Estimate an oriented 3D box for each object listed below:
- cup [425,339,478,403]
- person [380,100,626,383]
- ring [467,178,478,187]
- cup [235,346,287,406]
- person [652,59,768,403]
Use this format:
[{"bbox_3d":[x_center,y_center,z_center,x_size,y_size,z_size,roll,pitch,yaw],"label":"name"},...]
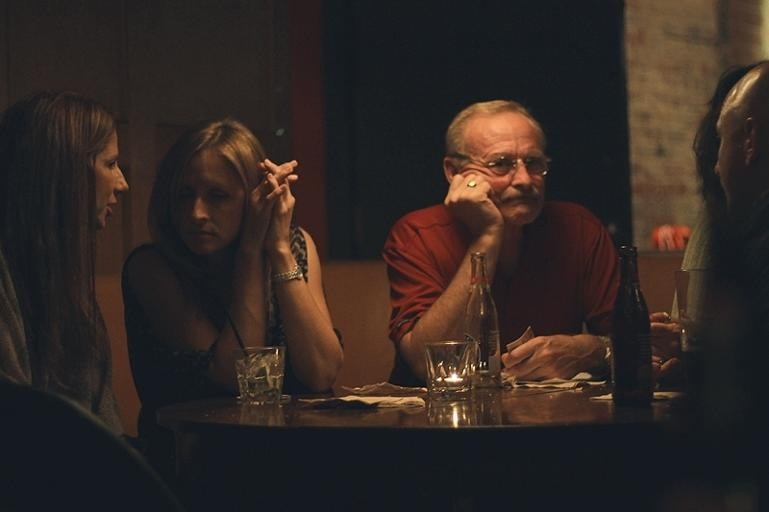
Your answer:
[{"bbox_3d":[0.199,0.330,2.886,0.160,0.171,0.168,0,-8,0],"label":"cup"},{"bbox_3d":[0.447,-0.066,3.690,0.906,1.024,0.319,-3,14,-13],"label":"person"},{"bbox_3d":[0.333,-0.283,3.713,0.029,0.028,0.008,1,-17,0],"label":"ring"},{"bbox_3d":[-0.366,0.355,2.939,0.163,0.176,0.163,0,-8,0],"label":"cup"},{"bbox_3d":[1.110,-0.188,3.415,0.228,0.965,1.156,7,15,26],"label":"person"}]
